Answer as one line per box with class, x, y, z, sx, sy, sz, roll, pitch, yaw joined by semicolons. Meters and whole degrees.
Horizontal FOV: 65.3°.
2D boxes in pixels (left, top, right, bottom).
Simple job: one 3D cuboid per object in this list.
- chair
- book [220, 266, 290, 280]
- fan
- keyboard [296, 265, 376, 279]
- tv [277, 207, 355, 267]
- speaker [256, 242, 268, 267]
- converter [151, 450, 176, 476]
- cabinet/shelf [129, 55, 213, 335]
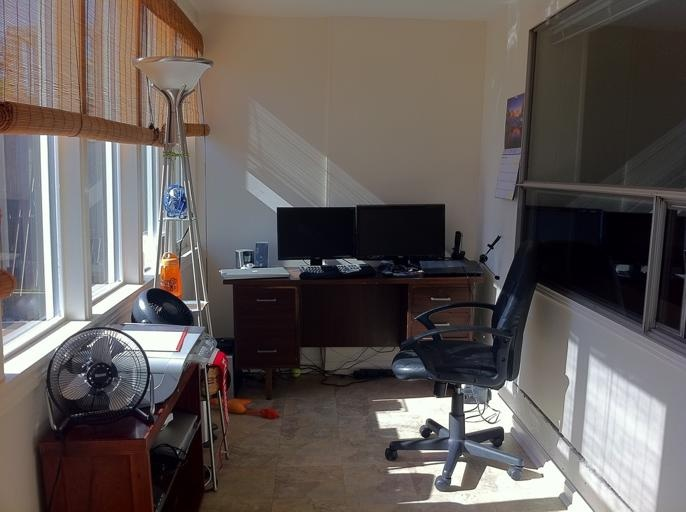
chair;0.798;0.637;4.006;1.173;2.049;1.233;1;0;4
book;-0.658;0.112;4.051;0.496;0.046;0.296;0;14;-5
fan;-1.021;0.493;2.259;0.385;0.457;0.247;-3;3;-25
keyboard;-0.044;0.116;4.095;0.575;0.032;0.358;1;14;-2
tv;-0.216;-0.178;4.223;0.419;0.332;0.119;0;8;-3
speaker;-0.663;-0.020;4.350;0.108;0.191;0.216;-1;13;-8
converter;-0.861;0.985;2.565;0.094;0.095;0.098;2;-6;22
cabinet/shelf;-1.103;-0.346;3.735;0.403;2.002;1.618;-2;13;-14
